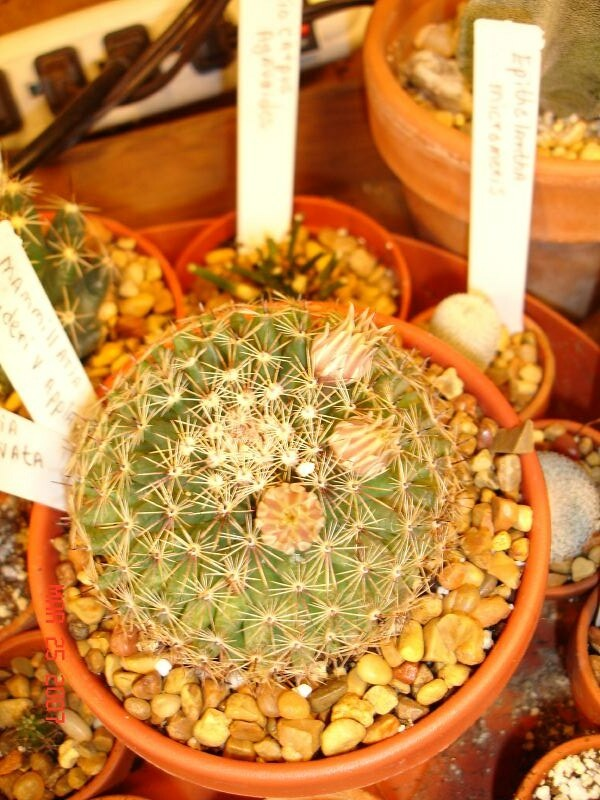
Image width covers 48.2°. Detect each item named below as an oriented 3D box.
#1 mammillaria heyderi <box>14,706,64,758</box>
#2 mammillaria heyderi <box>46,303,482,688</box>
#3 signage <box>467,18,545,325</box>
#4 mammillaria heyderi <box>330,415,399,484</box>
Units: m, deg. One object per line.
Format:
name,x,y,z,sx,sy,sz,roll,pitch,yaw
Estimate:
mammillaria heyderi,-0.277,0.355,0.712,0.045,0.028,0.041,22,54,25
mammillaria heyderi,0.006,0.092,0.771,0.211,0.472,0.487,-25,59,-7
signage,0.221,-0.248,0.740,0.068,0.290,0.113,0,50,9
mammillaria heyderi,0.060,0.041,0.583,0.067,0.038,0.050,-18,48,-10
